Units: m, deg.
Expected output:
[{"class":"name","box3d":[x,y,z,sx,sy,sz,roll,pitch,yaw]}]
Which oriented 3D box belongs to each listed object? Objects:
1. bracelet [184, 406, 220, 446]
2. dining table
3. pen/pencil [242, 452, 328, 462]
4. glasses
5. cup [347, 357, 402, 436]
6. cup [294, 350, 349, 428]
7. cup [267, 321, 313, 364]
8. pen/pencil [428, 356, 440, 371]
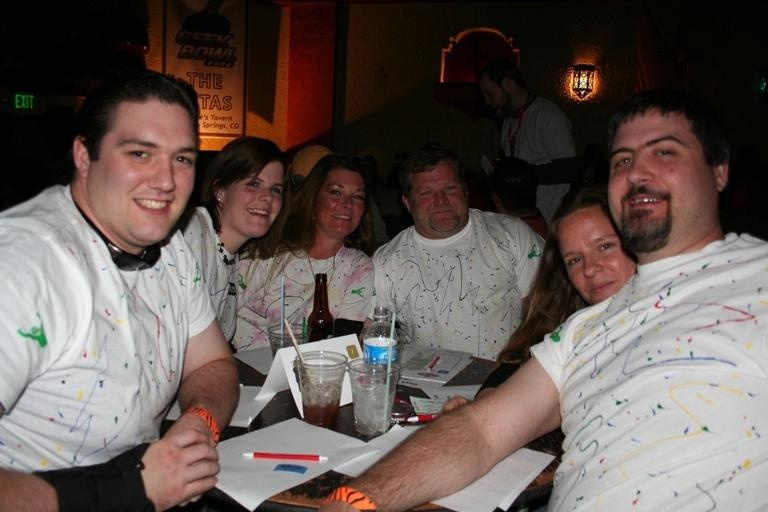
[{"class":"bracelet","box3d":[-0.639,0.604,2.025,0.118,0.044,0.122,41,-8,16]},{"class":"dining table","box3d":[-0.062,0.600,1.873,1.077,0.347,0.623,4,11,18]},{"class":"pen/pencil","box3d":[-0.329,0.675,1.879,0.280,0.025,0.026,0,-2,3]},{"class":"glasses","box3d":[-0.953,-0.057,2.032,0.248,0.188,0.068,51,-25,-19]},{"class":"cup","box3d":[-0.039,0.507,2.052,0.284,0.292,0.240,0,-5,-3]},{"class":"cup","box3d":[-0.213,0.497,2.141,0.296,0.276,0.262,0,-6,3]},{"class":"cup","box3d":[-0.434,0.381,2.566,0.224,0.162,0.233,1,-1,0]},{"class":"pen/pencil","box3d":[0.236,0.506,2.641,0.019,0.016,0.147,47,21,5]}]
